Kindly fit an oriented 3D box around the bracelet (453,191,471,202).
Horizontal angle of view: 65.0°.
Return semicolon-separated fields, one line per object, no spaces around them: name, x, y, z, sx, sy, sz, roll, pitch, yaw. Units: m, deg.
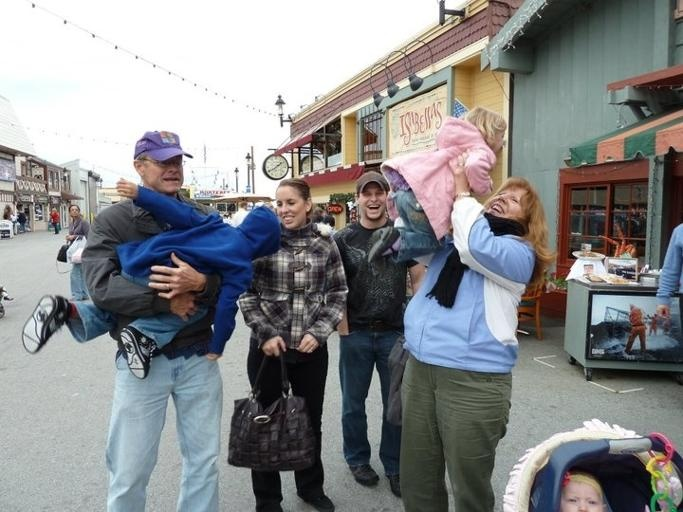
bracelet;0.758;-0.372;3.350;0.084;0.054;0.058;-1;5;4

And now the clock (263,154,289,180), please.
clock;-2.868;-3.999;24.046;0.569;1.154;1.459;2;6;29

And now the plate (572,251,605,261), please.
plate;3.623;-0.005;7.891;0.319;0.118;0.547;0;5;11

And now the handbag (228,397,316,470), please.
handbag;-0.517;1.360;4.063;0.594;0.631;0.286;0;0;6

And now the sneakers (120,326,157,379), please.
sneakers;-1.327;0.632;3.532;0.239;0.345;0.129;-3;6;-15

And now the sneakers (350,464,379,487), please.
sneakers;0.214;1.914;4.660;0.102;0.109;0.259;0;-4;-32

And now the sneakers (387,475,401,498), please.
sneakers;0.450;1.941;4.559;0.077;0.145;0.217;-2;5;-4

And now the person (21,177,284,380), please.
person;-1.209;0.151;3.697;1.597;1.312;0.501;-2;6;-8

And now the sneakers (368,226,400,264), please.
sneakers;0.327;-0.105;3.936;0.150;0.132;0.365;13;-47;-33
